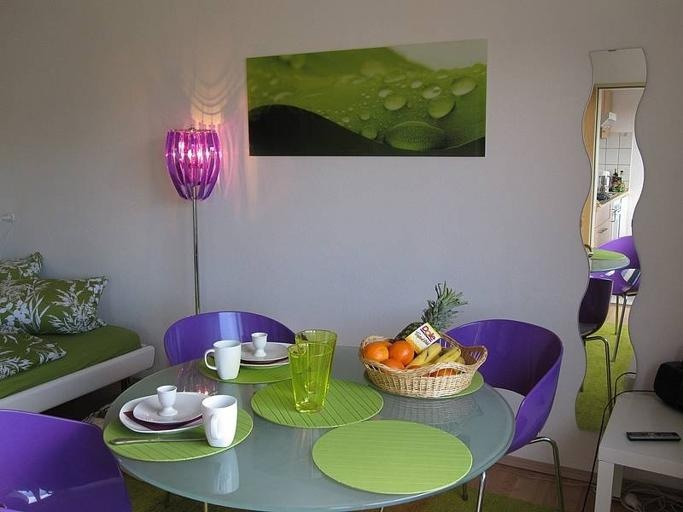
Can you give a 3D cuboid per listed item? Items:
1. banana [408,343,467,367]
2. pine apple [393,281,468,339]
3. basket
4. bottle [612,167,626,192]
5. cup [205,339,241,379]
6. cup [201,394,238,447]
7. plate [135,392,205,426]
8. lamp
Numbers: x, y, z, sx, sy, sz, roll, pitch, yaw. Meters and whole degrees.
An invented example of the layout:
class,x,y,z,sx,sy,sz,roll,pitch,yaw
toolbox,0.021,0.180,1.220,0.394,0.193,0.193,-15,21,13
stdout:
class,x,y,z,sx,sy,sz,roll,pitch,yaw
banana,0.330,0.315,1.617,0.154,0.046,0.084,0,-5,-43
pine apple,0.436,0.242,2.277,0.352,0.184,0.171,-33,18,-23
basket,0.273,0.375,1.588,0.257,0.093,0.245,-3,6,-11
bottle,1.333,-0.361,2.309,0.061,0.108,0.010,3,10,12
cup,-0.410,0.368,1.748,0.155,0.142,0.104,-2,8,-3
cup,-0.321,0.443,1.324,0.084,0.103,0.135,2,16,-2
plate,-0.507,0.462,1.436,0.119,0.020,0.117,10,18,40
lamp,-0.955,-0.228,3.116,0.364,1.233,0.243,5,10,23
